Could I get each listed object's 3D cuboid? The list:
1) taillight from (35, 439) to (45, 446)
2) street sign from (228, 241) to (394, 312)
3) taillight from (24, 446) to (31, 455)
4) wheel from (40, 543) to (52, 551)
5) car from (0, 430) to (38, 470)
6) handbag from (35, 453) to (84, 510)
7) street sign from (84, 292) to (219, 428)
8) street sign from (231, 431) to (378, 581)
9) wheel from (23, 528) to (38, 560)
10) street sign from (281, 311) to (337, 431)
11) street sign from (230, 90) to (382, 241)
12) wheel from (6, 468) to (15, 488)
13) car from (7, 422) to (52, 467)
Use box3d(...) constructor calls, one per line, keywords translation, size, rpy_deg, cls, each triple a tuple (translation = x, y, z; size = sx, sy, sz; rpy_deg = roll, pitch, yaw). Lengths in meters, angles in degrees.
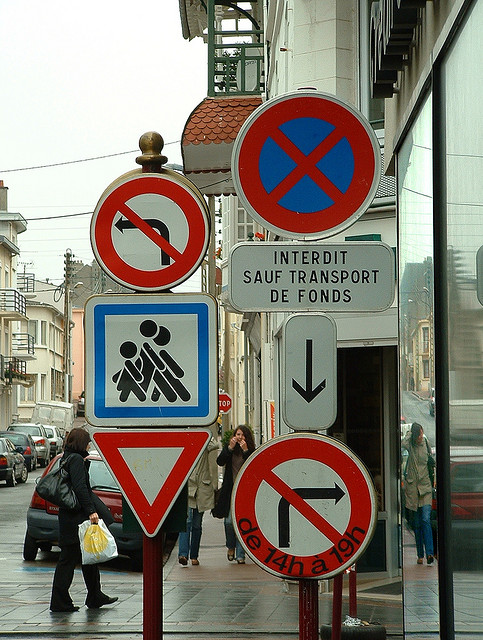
box3d(translation=(-7.736, 4.656, 40.603), size=(0.245, 0.242, 0.568), rpy_deg=(-7, -7, 36), cls="taillight")
box3d(translation=(0.251, -0.159, 3.827), size=(0.610, 0.276, 0.119), rpy_deg=(-3, -4, -6), cls="street sign")
box3d(translation=(-7.435, 4.491, 36.722), size=(0.104, 0.265, 0.527), rpy_deg=(-2, -6, 4), cls="taillight")
box3d(translation=(-2.464, 2.837, 13.312), size=(0.148, 0.120, 0.427), rpy_deg=(-1, -7, -12), cls="wheel")
box3d(translation=(-7.713, 4.509, 37.060), size=(0.783, 1.135, 2.130), rpy_deg=(0, 0, -2), cls="car")
box3d(translation=(-1.548, 1.374, 9.061), size=(0.388, 0.476, 0.241), rpy_deg=(-1, -5, -17), cls="handbag")
box3d(translation=(-0.317, 0.134, 3.723), size=(0.460, 0.058, 0.644), rpy_deg=(-2, -51, -7), cls="street sign")
box3d(translation=(0.213, 0.643, 3.677), size=(0.499, 0.518, 0.163), rpy_deg=(-2, -4, -2), cls="street sign")
box3d(translation=(-2.536, 2.689, 12.737), size=(0.112, 0.485, 0.390), rpy_deg=(1, -5, -3), cls="wheel")
box3d(translation=(0.234, 0.178, 3.738), size=(0.194, 0.413, 0.071), rpy_deg=(-2, -4, 3), cls="street sign")
box3d(translation=(0.241, -0.584, 3.984), size=(0.559, 0.571, 0.130), rpy_deg=(-2, -4, 0), cls="street sign")
box3d(translation=(-6.339, 4.271, 28.963), size=(0.139, 0.663, 0.531), rpy_deg=(-1, -3, -1), cls="wheel")
box3d(translation=(-7.957, 4.843, 41.369), size=(0.975, 1.395, 2.677), rpy_deg=(0, 1, 0), cls="car")
